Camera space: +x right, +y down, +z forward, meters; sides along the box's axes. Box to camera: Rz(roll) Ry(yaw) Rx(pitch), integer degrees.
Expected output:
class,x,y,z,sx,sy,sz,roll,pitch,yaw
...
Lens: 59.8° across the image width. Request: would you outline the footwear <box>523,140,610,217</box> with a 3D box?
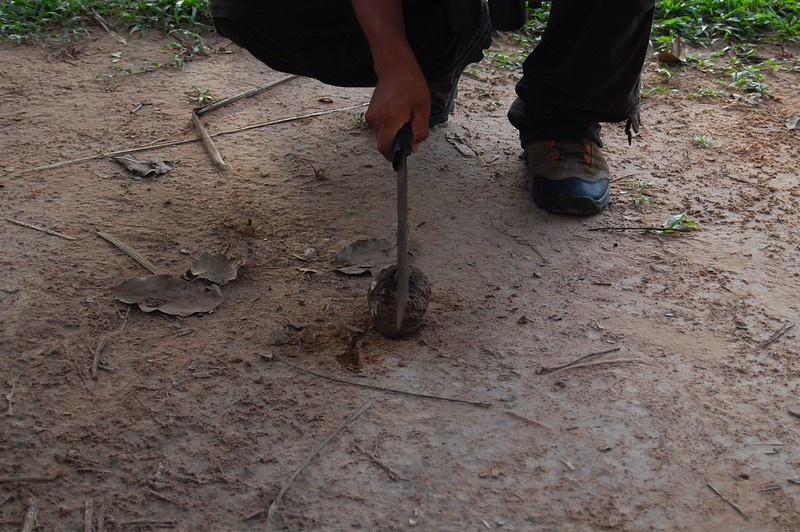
class,x,y,z,sx,sy,sz,roll,pitch,yaw
footwear,0.812,-0.440,3.368,0.386,0.188,0.396,1,51,5
